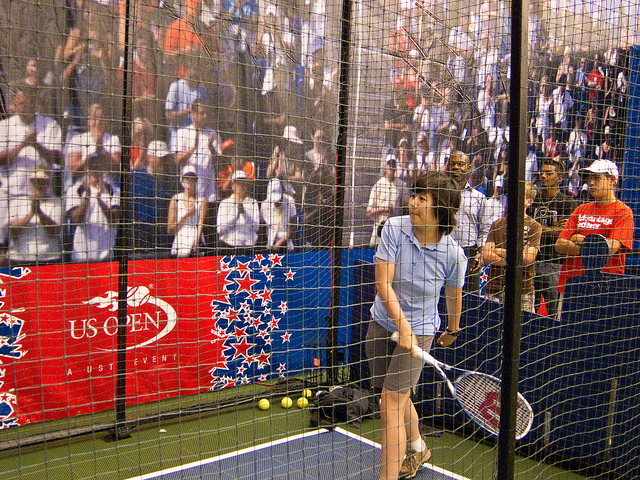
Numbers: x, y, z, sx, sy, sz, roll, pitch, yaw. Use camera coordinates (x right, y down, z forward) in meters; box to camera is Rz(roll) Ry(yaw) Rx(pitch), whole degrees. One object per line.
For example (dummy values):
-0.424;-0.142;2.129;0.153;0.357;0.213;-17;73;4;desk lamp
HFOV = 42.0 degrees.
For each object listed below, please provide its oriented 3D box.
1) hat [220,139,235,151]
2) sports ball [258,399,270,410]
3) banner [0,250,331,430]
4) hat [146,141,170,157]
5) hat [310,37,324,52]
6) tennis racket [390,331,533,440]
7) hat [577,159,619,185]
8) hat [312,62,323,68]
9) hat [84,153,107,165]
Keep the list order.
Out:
-0.963;-0.990;8.658;0.133;0.116;0.130;-2;4;-10;hat
-0.569;1.631;8.291;0.133;0.101;0.110;0;4;12;sports ball
-1.463;0.921;8.212;3.230;1.509;0.936;-3;5;-30;banner
-1.562;-0.910;8.085;0.221;0.121;0.273;4;-6;-19;hat
-0.043;-1.947;8.338;0.118;0.123;0.427;-1;4;-2;hat
1.184;1.193;6.861;0.956;0.419;0.110;35;32;20;tennis racket
2.536;-0.638;7.539;0.249;0.163;0.176;20;-2;-1;hat
-0.043;-1.760;8.378;0.079;0.053;0.078;-2;4;-15;hat
-2.131;-0.783;7.984;0.027;0.102;0.198;3;6;41;hat
